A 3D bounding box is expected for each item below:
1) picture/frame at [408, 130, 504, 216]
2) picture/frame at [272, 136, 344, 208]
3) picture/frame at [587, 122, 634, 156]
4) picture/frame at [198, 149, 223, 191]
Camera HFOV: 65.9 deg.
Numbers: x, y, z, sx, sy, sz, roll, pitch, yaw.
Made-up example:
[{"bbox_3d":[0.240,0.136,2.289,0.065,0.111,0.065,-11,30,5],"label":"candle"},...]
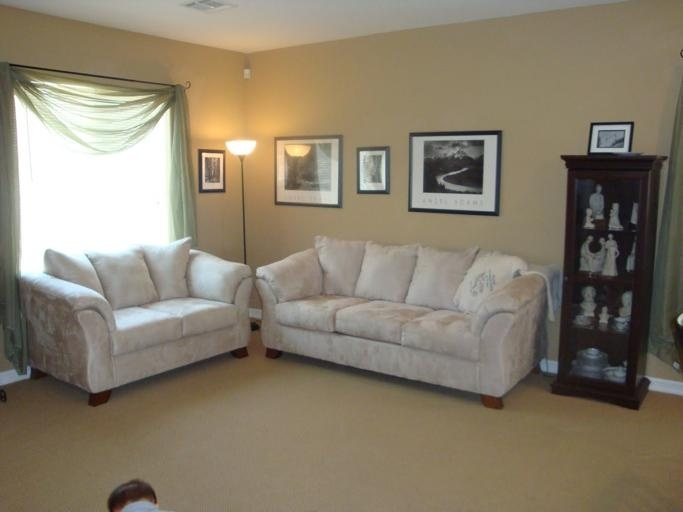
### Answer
[{"bbox_3d":[1.140,-0.823,5.090,0.770,0.727,0.042,3,8,33],"label":"picture/frame"},{"bbox_3d":[-0.346,-0.974,5.936,0.735,0.781,0.032,3,5,28],"label":"picture/frame"},{"bbox_3d":[2.159,-0.942,4.220,0.295,0.291,0.022,2,-4,22],"label":"picture/frame"},{"bbox_3d":[-1.466,-0.990,6.013,0.362,0.483,0.035,5,8,23],"label":"picture/frame"}]
